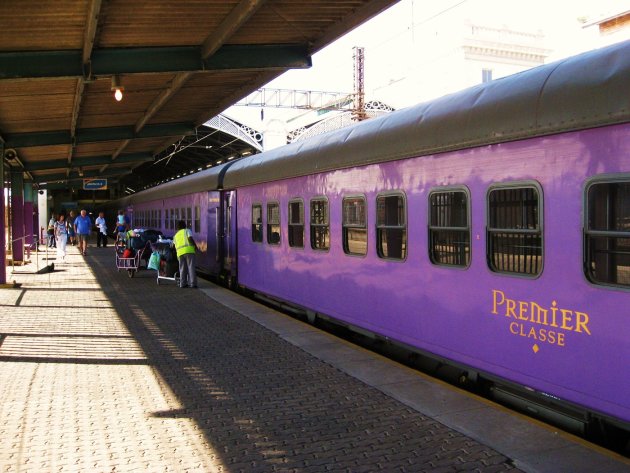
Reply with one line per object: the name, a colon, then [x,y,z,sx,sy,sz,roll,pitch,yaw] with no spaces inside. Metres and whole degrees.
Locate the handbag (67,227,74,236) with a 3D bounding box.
handbag: [-13.622,-0.309,28.128,0.372,0.134,0.370,39,7,-5]

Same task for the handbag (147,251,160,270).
handbag: [-5.028,0.786,16.168,0.498,0.633,0.199,9,1,39]

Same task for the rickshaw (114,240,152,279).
rickshaw: [-6.557,0.861,18.321,1.115,1.097,1.985,1,-1,-27]

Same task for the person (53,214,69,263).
person: [-11.807,0.012,23.530,0.665,2.139,0.625,-1,2,-3]
